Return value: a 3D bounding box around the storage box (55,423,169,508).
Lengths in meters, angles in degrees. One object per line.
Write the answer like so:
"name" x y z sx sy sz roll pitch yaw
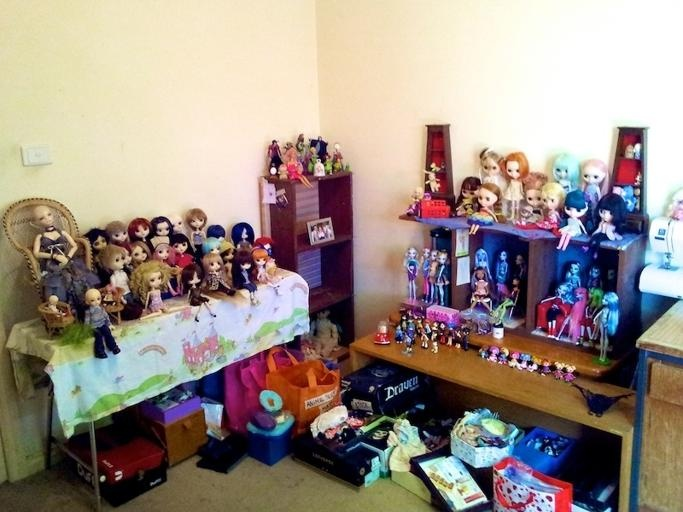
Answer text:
"storage box" -1.173 1.052 2.752 0.449 0.171 0.311 14 19 43

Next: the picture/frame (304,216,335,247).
"picture/frame" -0.148 -0.158 3.549 0.013 0.149 0.192 -4 8 44

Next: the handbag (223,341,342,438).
"handbag" -0.289 0.702 3.127 0.568 0.575 0.450 0 5 25

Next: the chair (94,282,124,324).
"chair" -1.102 0.225 2.548 0.161 0.182 0.159 1 7 2

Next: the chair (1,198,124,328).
"chair" -1.357 0.005 2.560 0.367 0.537 0.403 -16 23 -41

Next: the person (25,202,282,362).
"person" -0.901 0.044 2.467 1.331 0.725 0.400 -4 21 2

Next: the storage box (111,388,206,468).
"storage box" -0.980 0.870 3.001 0.356 0.437 0.435 8 18 36

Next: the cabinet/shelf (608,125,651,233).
"cabinet/shelf" 1.447 -0.378 2.632 0.190 0.509 0.089 11 20 33
